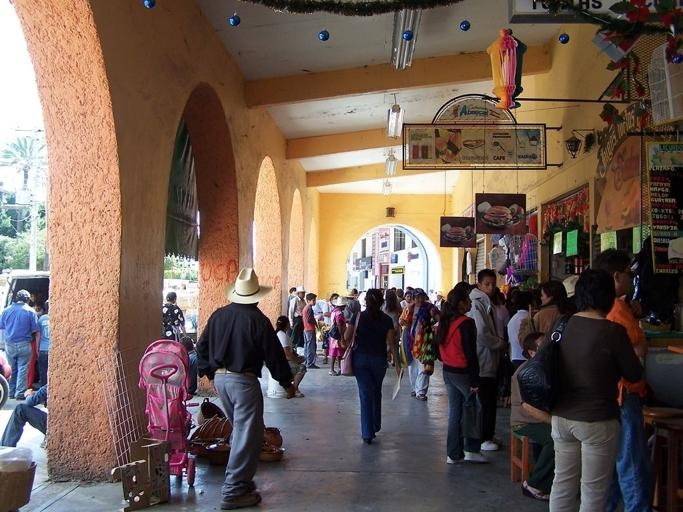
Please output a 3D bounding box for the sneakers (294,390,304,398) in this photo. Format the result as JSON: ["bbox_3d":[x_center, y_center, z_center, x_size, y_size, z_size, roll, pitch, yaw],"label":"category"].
[{"bbox_3d":[-0.728,2.441,9.858,0.150,0.114,0.072,0,-1,9],"label":"sneakers"}]

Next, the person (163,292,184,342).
[{"bbox_3d":[-3.376,1.234,11.591,0.413,0.947,0.894,2,-4,-16],"label":"person"}]

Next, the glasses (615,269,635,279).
[{"bbox_3d":[2.404,0.164,4.825,0.122,0.044,0.136,0,-9,-4],"label":"glasses"}]

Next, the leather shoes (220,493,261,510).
[{"bbox_3d":[-0.902,2.186,5.125,0.333,0.170,0.127,-3,4,-22],"label":"leather shoes"}]

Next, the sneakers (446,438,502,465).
[{"bbox_3d":[1.433,2.173,6.211,0.497,0.236,0.178,-4,1,-4],"label":"sneakers"}]

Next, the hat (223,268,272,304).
[{"bbox_3d":[-0.875,0.307,5.469,0.272,0.167,0.400,1,21,5],"label":"hat"}]

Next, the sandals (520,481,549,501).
[{"bbox_3d":[1.819,2.226,5.302,0.087,0.091,0.228,4,-4,-36],"label":"sandals"}]
